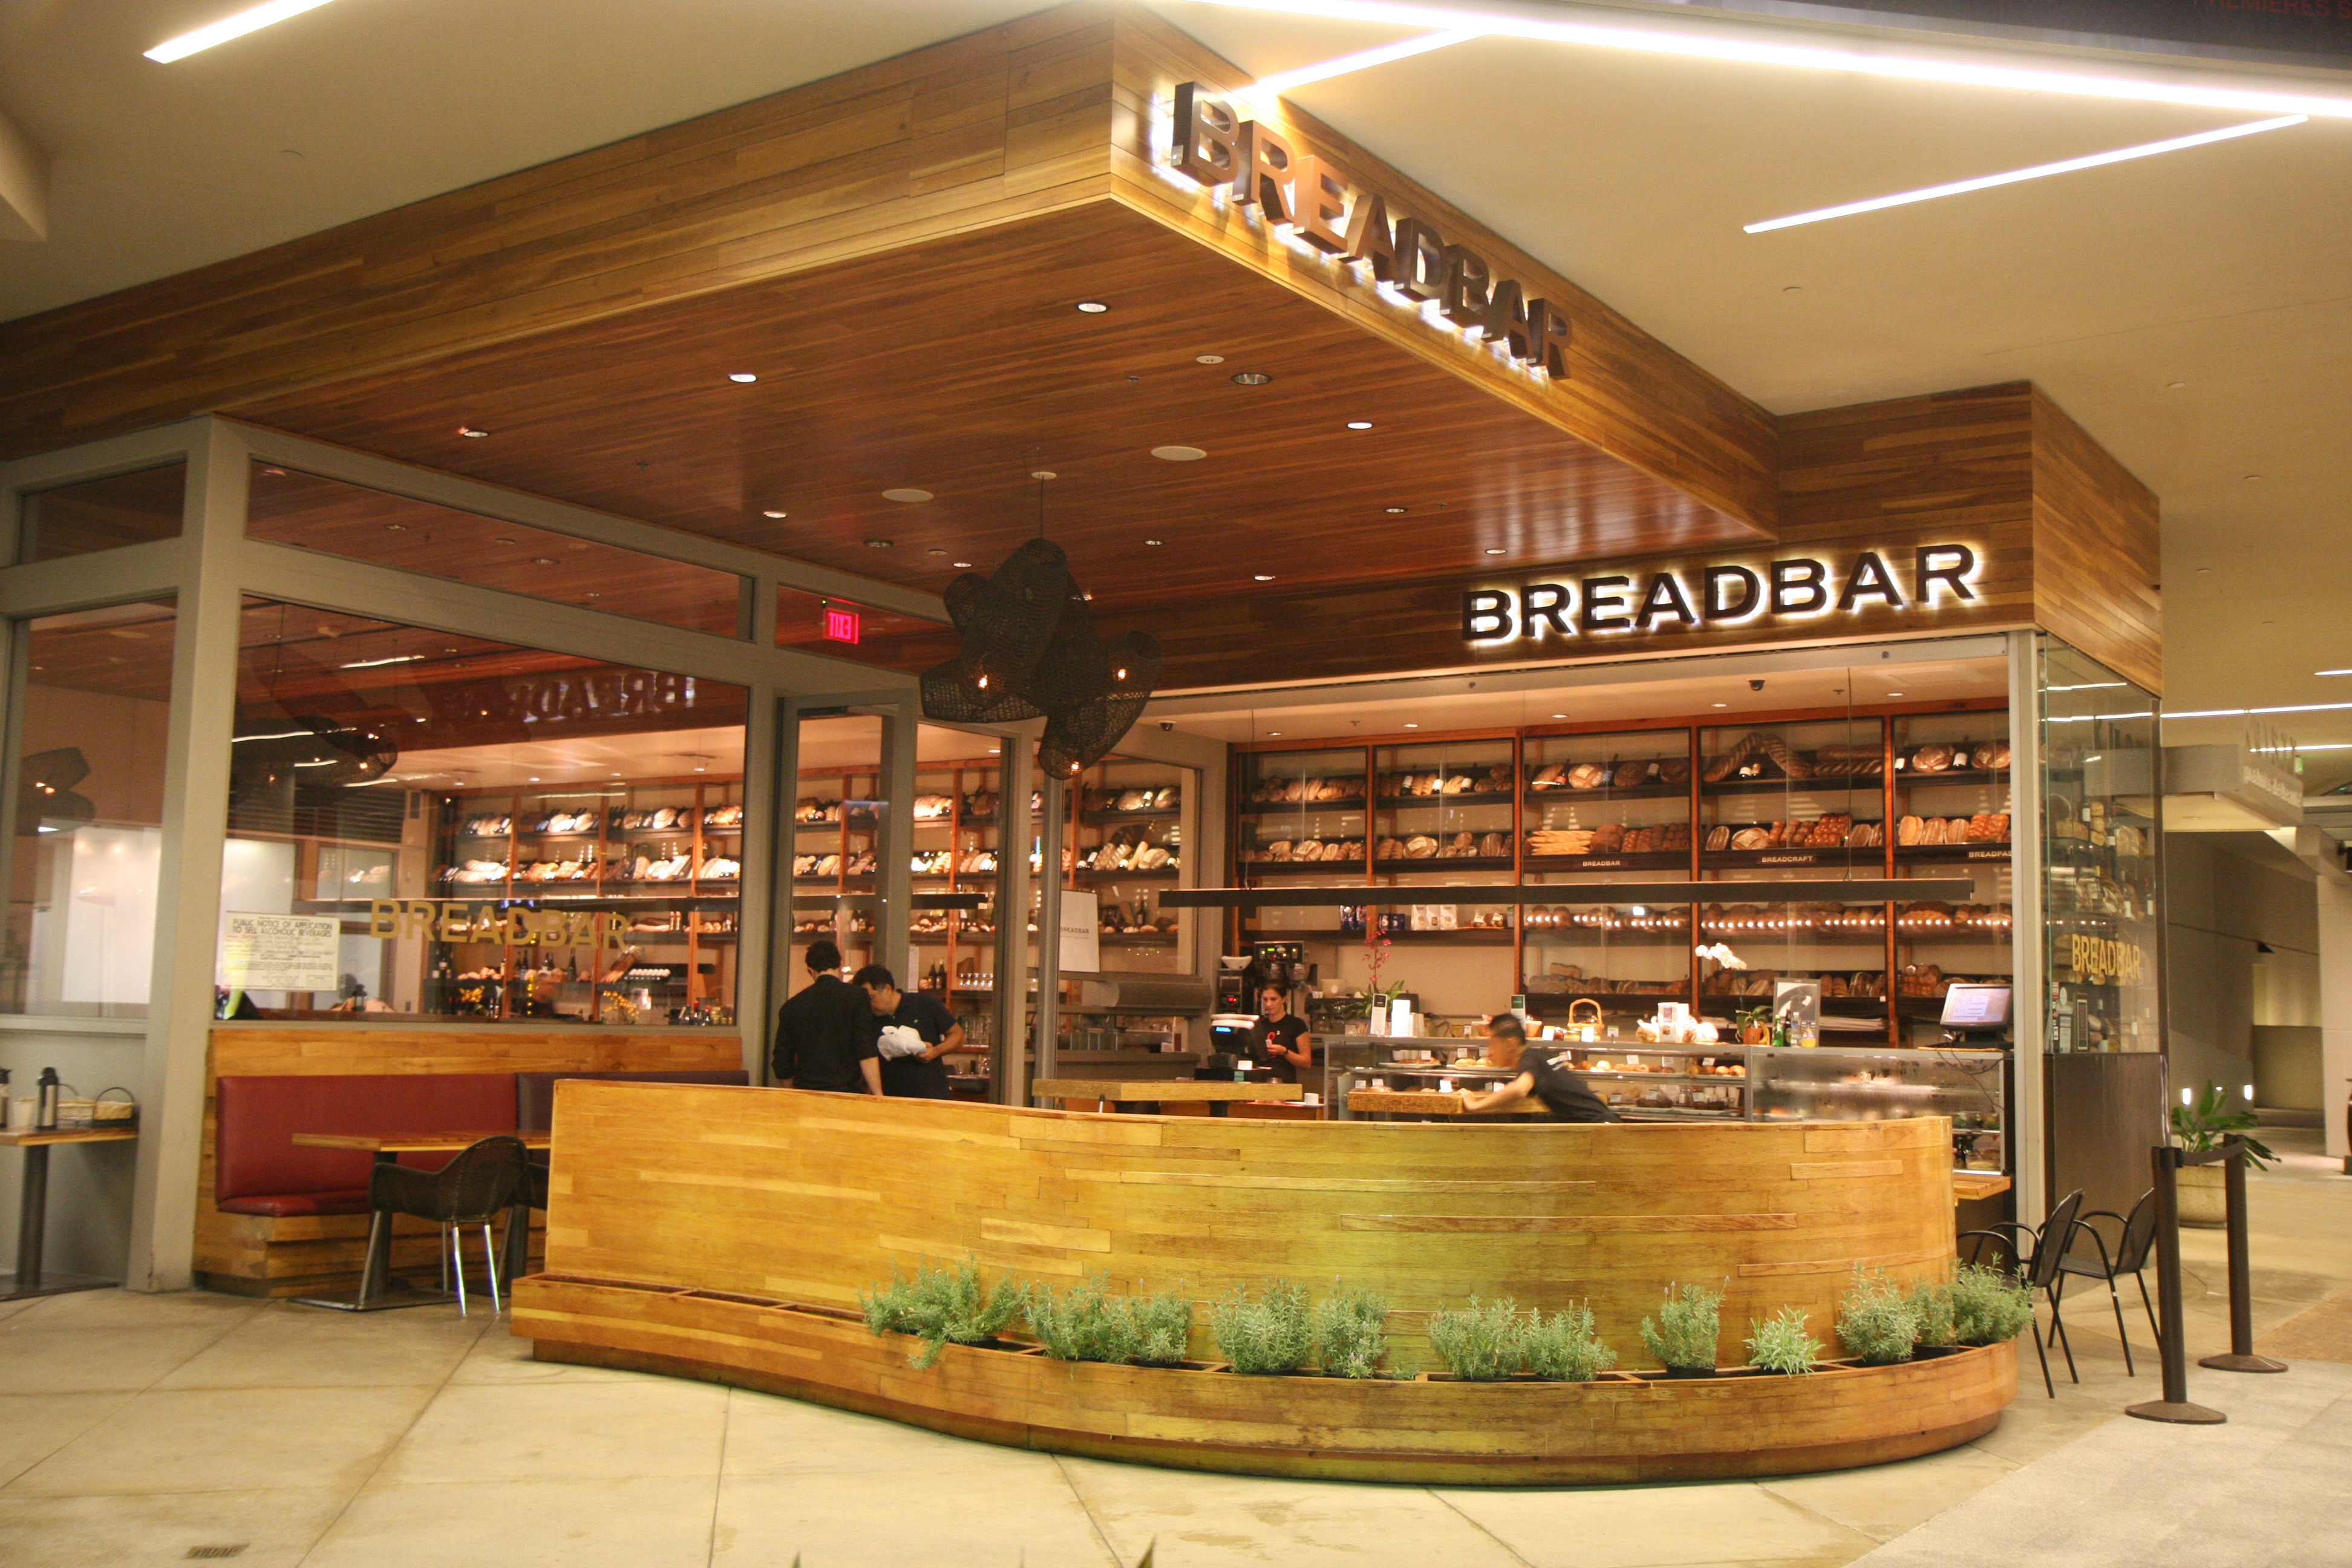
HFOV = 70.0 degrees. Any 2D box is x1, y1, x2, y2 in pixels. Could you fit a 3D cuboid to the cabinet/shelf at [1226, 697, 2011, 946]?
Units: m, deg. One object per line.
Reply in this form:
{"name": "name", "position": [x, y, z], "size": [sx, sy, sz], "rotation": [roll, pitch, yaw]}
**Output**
{"name": "cabinet/shelf", "position": [3.327, 0.410, 13.817], "size": [6.077, 1.871, 2.490], "rotation": [-2, -6, 43]}

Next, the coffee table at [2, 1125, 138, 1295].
{"name": "coffee table", "position": [-6.065, 2.290, 9.171], "size": [0.580, 0.928, 1.102], "rotation": [5, -5, -29]}

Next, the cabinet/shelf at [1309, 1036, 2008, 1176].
{"name": "cabinet/shelf", "position": [3.106, 1.946, 10.759], "size": [3.963, 0.738, 1.199], "rotation": [0, -4, 21]}

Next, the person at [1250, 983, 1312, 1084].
{"name": "person", "position": [0.824, 1.958, 13.302], "size": [0.434, 0.699, 0.787], "rotation": [2, -4, 3]}

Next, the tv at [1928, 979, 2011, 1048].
{"name": "tv", "position": [5.020, 1.443, 10.726], "size": [0.577, 0.429, 0.458], "rotation": [-5, -15, 44]}

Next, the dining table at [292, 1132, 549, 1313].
{"name": "dining table", "position": [-3.886, 2.294, 8.843], "size": [0.783, 0.639, 1.135], "rotation": [-17, -24, 33]}

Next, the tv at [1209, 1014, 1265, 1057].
{"name": "tv", "position": [0.507, 2.080, 13.879], "size": [0.418, 0.229, 0.388], "rotation": [7, 4, 35]}

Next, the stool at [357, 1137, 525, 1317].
{"name": "stool", "position": [-3.827, 2.256, 8.794], "size": [0.815, 0.682, 0.672], "rotation": [-1, -16, 0]}

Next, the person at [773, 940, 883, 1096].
{"name": "person", "position": [-1.963, 1.309, 9.529], "size": [0.580, 0.802, 0.403], "rotation": [3, -5, -9]}

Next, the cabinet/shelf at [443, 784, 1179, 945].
{"name": "cabinet/shelf", "position": [-2.179, 0.456, 12.824], "size": [1.432, 1.481, 6.337], "rotation": [0, -4, 31]}

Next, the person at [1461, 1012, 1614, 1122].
{"name": "person", "position": [1.982, 1.616, 9.484], "size": [0.655, 0.573, 1.501], "rotation": [2, -4, 4]}
